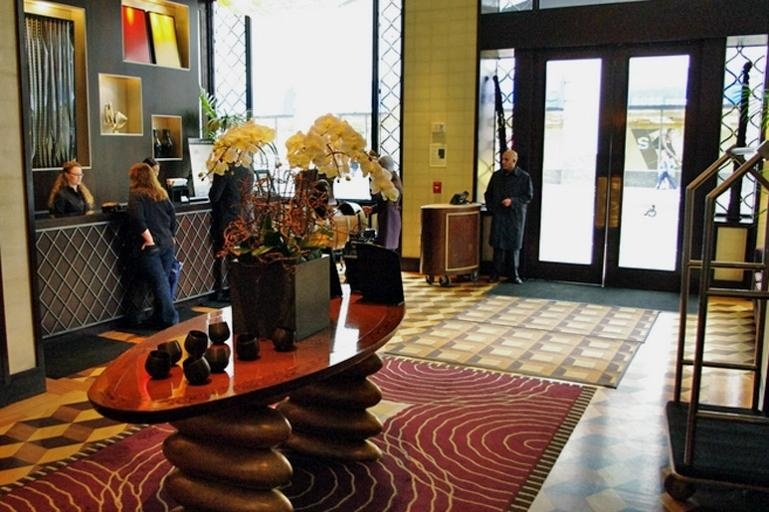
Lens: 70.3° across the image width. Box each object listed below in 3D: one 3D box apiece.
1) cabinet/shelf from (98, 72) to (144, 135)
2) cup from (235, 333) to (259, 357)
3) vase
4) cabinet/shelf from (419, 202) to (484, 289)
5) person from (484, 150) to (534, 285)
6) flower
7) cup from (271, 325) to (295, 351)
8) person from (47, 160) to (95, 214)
[{"bbox_3d":[-4.474,-2.577,9.247,0.359,0.955,0.676,8,16,29],"label":"cabinet/shelf"},{"bbox_3d":[-0.766,0.497,3.076,0.138,0.097,0.127,0,13,0],"label":"cup"},{"bbox_3d":[-0.603,0.219,3.443,0.569,0.470,0.550,1,5,23],"label":"vase"},{"bbox_3d":[1.057,-0.178,8.654,0.931,1.269,1.465,3,6,33],"label":"cabinet/shelf"},{"bbox_3d":[1.995,-0.659,8.864,0.746,2.125,0.504,3,15,11],"label":"person"},{"bbox_3d":[-0.554,-0.460,3.563,1.484,0.870,0.962,1,11,6],"label":"flower"},{"bbox_3d":[-0.589,0.478,3.185,0.142,0.118,0.135,1,1,0],"label":"cup"},{"bbox_3d":[-3.907,-0.847,6.777,0.476,0.633,0.941,-8,16,-30],"label":"person"}]
